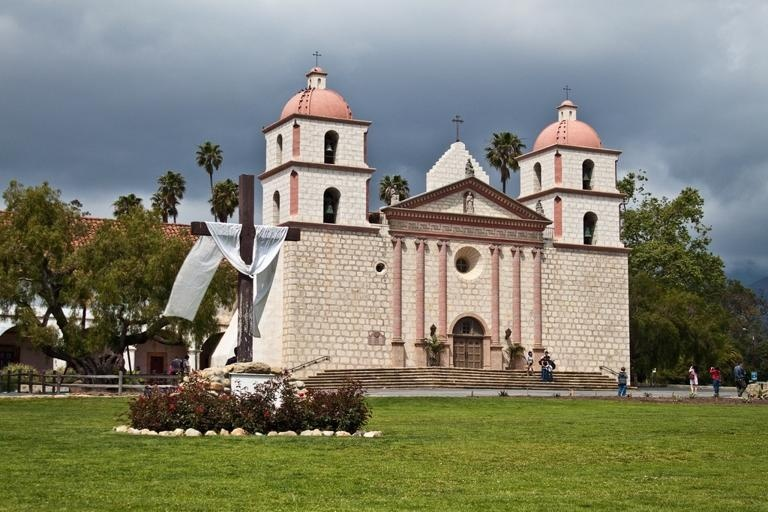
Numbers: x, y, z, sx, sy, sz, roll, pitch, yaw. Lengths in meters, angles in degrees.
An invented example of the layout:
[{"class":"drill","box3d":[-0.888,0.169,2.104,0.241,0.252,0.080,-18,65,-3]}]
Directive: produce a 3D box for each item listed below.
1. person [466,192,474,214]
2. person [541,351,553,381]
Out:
[{"class":"person","box3d":[4.613,-2.879,75.148,0.619,1.150,0.299,3,-11,-14]},{"class":"person","box3d":[8.626,5.804,73.704,0.676,1.559,0.844,-2,-11,8]}]
